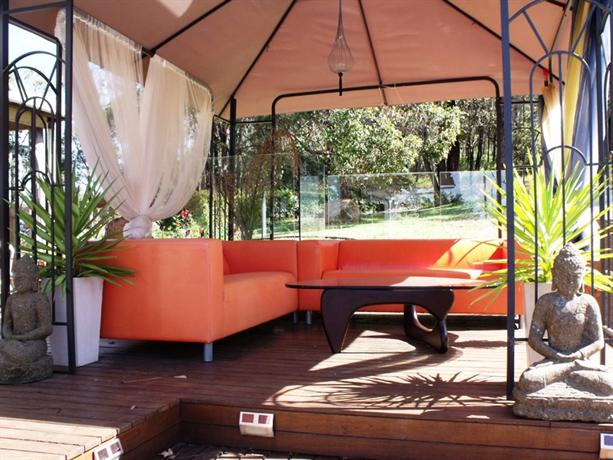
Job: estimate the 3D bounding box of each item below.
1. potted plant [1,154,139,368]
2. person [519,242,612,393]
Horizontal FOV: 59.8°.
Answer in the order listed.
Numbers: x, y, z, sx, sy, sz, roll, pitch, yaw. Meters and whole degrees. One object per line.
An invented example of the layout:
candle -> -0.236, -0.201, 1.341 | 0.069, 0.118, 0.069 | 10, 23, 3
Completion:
potted plant -> -1.633, 0.310, 4.106 | 0.862, 1.588, 0.814 | 1, -3, -41
person -> 1.392, 0.476, 2.937 | 0.484, 0.770, 0.267 | 0, 2, 8
